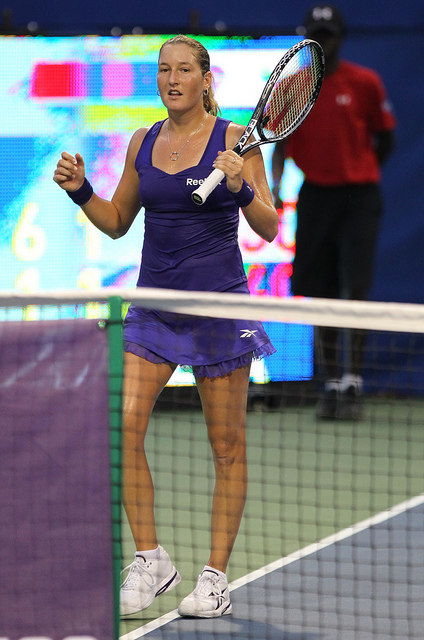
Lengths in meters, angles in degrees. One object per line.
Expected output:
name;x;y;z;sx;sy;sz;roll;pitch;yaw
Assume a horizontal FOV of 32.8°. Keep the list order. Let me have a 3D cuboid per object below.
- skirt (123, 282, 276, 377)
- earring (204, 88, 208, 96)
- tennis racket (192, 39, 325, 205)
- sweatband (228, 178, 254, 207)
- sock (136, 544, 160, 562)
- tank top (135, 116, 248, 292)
skirt;-0.035;-0.015;2.342;0.523;0.299;0.310;7;21;21
earring;-0.020;-0.775;2.444;0.006;0.031;0.023;7;-2;7
tennis racket;0.257;-0.706;2.508;0.090;0.293;1.063;-17;27;38
sweatband;0.082;-0.385;2.158;0.067;0.076;0.082;0;-2;0
sock;-0.196;0.750;2.297;0.088;0.055;0.028;3;-6;-17
tank top;-0.054;-0.373;2.376;0.379;0.577;0.270;4;5;26
